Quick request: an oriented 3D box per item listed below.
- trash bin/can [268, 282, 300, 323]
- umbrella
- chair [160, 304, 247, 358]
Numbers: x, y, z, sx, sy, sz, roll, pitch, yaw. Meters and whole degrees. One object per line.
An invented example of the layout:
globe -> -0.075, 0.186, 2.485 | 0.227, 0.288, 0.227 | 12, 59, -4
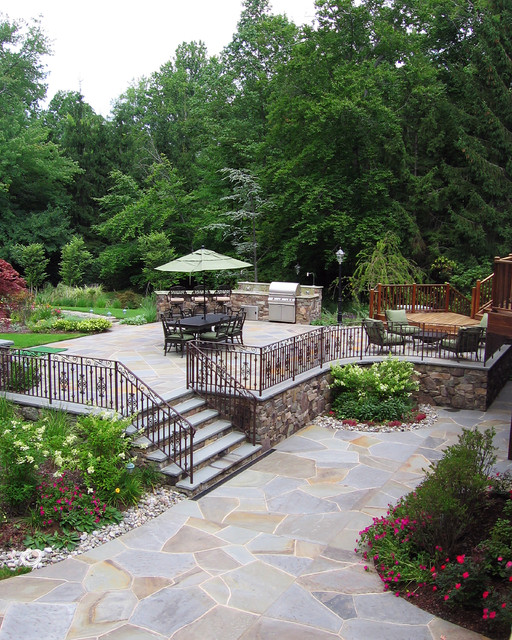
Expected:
trash bin/can -> 0.722, -0.518, 17.600 | 1.009, 1.245, 0.826 | 4, -8, -25
umbrella -> -1.290, -1.041, 12.569 | 2.412, 1.380, 2.302 | -3, 2, -30
chair -> -1.361, 0.254, 12.372 | 1.490, 0.714, 1.282 | 2, 8, 24
